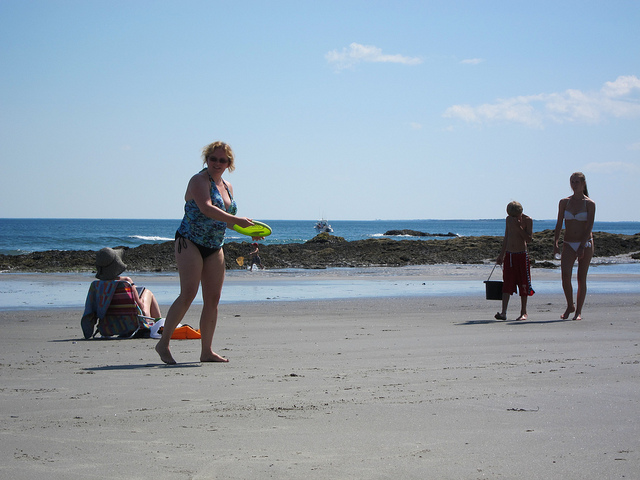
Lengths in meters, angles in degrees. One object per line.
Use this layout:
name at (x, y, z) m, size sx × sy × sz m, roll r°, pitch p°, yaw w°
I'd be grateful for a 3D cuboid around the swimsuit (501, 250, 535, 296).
swimsuit at (2.955, 0.493, 13.322) m, size 0.548 × 0.642 × 0.278 m, roll 1°, pitch 1°, yaw 29°

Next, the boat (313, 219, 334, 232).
boat at (0.357, -1.822, 113.409) m, size 1.816 × 1.799 × 3.435 m, roll -2°, pitch -5°, yaw 7°

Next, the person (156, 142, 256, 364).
person at (-1.183, 0.152, 9.235) m, size 0.960 × 2.288 × 0.685 m, roll 1°, pitch 8°, yaw 5°

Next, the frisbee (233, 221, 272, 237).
frisbee at (-0.670, -0.100, 9.358) m, size 0.228 × 0.045 × 0.224 m, roll -12°, pitch -18°, yaw 39°

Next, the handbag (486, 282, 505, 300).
handbag at (2.644, 0.780, 13.632) m, size 0.269 × 0.186 × 0.261 m, roll -1°, pitch -9°, yaw 4°

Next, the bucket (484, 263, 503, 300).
bucket at (2.788, 0.760, 13.706) m, size 0.281 × 0.504 × 0.279 m, roll 5°, pitch -8°, yaw 1°

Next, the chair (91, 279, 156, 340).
chair at (-2.438, 0.865, 11.270) m, size 0.541 × 0.565 × 0.901 m, roll -1°, pitch -3°, yaw 4°
